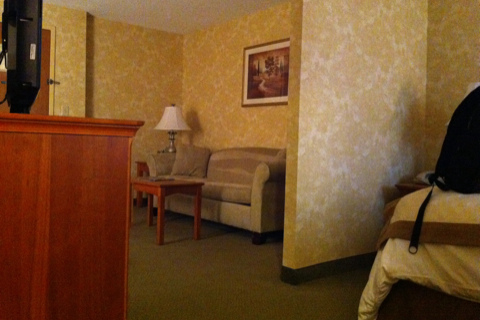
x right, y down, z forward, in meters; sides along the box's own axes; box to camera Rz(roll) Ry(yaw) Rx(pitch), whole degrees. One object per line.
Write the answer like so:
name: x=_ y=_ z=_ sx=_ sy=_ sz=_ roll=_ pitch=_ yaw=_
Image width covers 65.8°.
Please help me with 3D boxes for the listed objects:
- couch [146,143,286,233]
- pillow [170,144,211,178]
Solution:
couch: x=-0.265 y=0.307 z=5.117 sx=0.897 sy=1.002 sz=2.486 roll=0 pitch=2 yaw=-44
pillow: x=-0.739 y=0.018 z=5.674 sx=0.615 sy=0.480 sz=0.290 roll=1 pitch=4 yaw=-10
